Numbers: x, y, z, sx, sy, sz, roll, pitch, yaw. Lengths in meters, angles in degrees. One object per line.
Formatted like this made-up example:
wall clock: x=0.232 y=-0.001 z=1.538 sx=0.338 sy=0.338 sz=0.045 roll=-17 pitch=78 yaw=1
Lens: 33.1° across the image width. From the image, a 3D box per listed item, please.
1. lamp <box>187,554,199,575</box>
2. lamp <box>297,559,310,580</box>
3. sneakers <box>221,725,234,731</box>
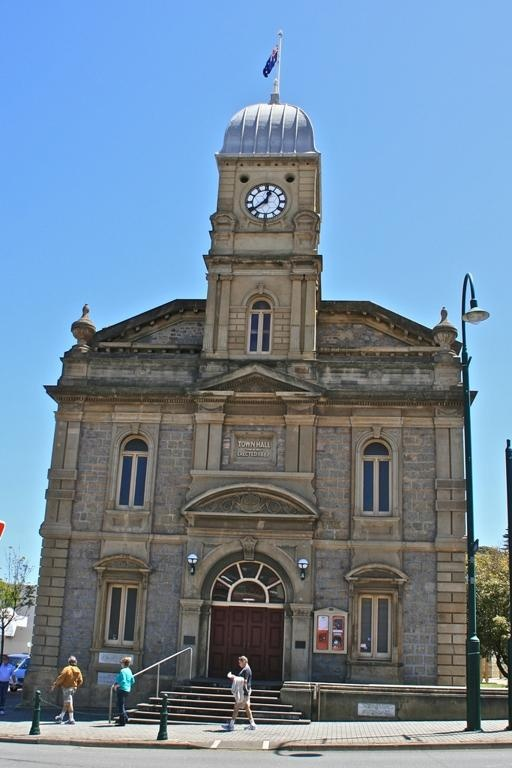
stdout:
lamp: x=-1.821 y=5.185 z=24.532 sx=0.326 sy=0.583 sz=0.246 roll=3 pitch=-20 yaw=-3
lamp: x=1.299 y=5.219 z=24.098 sx=0.318 sy=0.622 sz=0.148 roll=1 pitch=-21 yaw=2
sneakers: x=-0.621 y=7.684 z=19.120 sx=0.151 sy=0.160 sz=0.260 roll=-19 pitch=-32 yaw=36
